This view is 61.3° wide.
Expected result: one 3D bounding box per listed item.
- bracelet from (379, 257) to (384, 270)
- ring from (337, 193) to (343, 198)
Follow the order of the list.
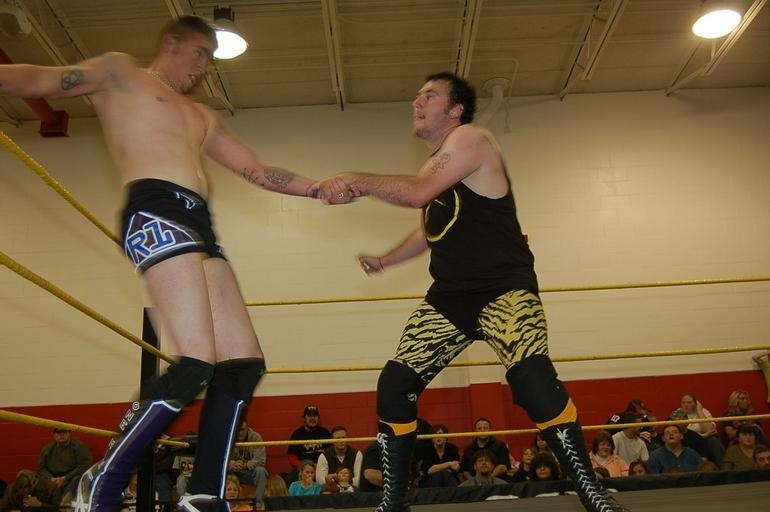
[{"bbox_3d":[-0.022,0.044,4.554,0.016,0.058,0.058,-1,-26,-11],"label":"bracelet"},{"bbox_3d":[-0.289,-0.390,4.196,0.024,0.030,0.029,1,-8,-2],"label":"ring"}]
